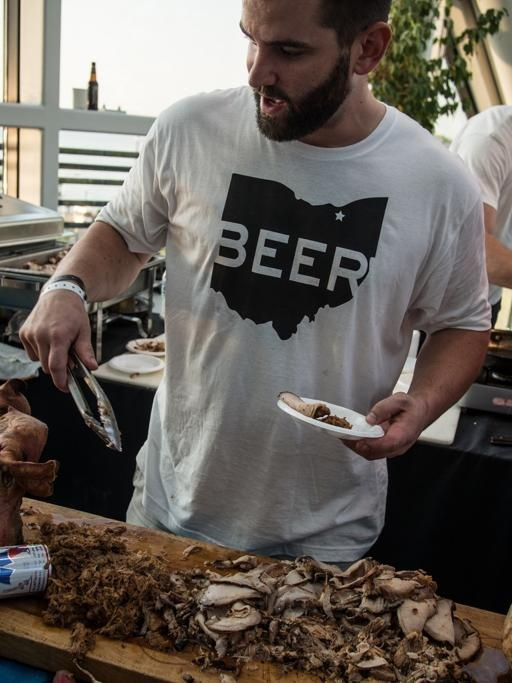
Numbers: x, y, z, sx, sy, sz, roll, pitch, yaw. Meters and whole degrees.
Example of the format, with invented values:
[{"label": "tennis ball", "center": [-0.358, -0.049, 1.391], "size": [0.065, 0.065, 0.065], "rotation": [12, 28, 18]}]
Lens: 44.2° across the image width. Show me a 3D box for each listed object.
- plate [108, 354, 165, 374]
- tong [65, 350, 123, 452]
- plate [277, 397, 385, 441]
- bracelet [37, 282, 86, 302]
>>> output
[{"label": "plate", "center": [-0.489, 0.091, 2.598], "size": [0.129, 0.018, 0.120], "rotation": [5, 23, -5]}, {"label": "tong", "center": [-0.285, 0.105, 1.072], "size": [0.056, 0.040, 0.230], "rotation": [-12, 42, -33]}, {"label": "plate", "center": [0.135, 0.143, 1.145], "size": [0.199, 0.051, 0.171], "rotation": [6, 7, 3]}, {"label": "bracelet", "center": [-0.393, -0.102, 1.286], "size": [0.087, 0.039, 0.052], "rotation": [3, 7, -16]}]
